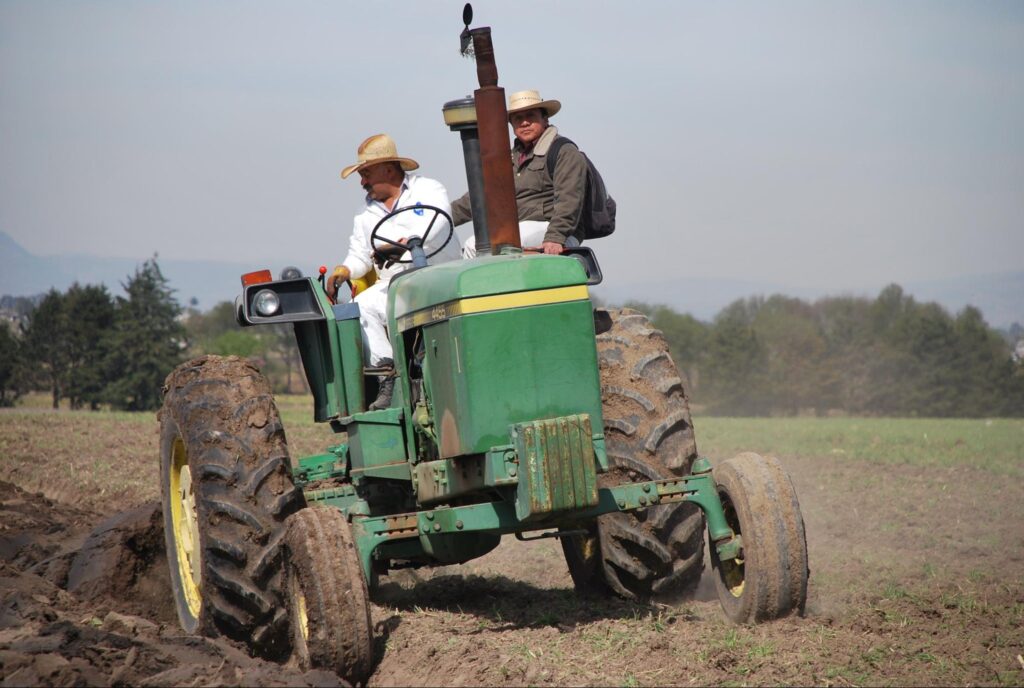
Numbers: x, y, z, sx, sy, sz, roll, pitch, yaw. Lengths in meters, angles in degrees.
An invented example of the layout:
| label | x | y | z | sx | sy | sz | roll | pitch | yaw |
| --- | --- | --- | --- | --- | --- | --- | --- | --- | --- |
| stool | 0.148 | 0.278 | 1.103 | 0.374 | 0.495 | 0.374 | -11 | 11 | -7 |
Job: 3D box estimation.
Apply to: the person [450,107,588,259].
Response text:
| label | x | y | z | sx | sy | sz | roll | pitch | yaw |
| --- | --- | --- | --- | --- | --- | --- | --- | --- | --- |
| person | 0.082 | -1.620 | 11.650 | 1.174 | 1.706 | 0.909 | 3 | 0 | 26 |

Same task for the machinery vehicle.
| label | x | y | z | sx | sy | sz | roll | pitch | yaw |
| --- | --- | --- | --- | --- | --- | --- | --- | --- | --- |
| machinery vehicle | -0.986 | 0.291 | 11.658 | 4.015 | 5.319 | 6.227 | -2 | -4 | -23 |

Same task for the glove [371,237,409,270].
| label | x | y | z | sx | sy | sz | roll | pitch | yaw |
| --- | --- | --- | --- | --- | --- | --- | --- | --- | --- |
| glove | -1.088 | -0.809 | 10.645 | 0.286 | 0.123 | 0.219 | -5 | -8 | 30 |
